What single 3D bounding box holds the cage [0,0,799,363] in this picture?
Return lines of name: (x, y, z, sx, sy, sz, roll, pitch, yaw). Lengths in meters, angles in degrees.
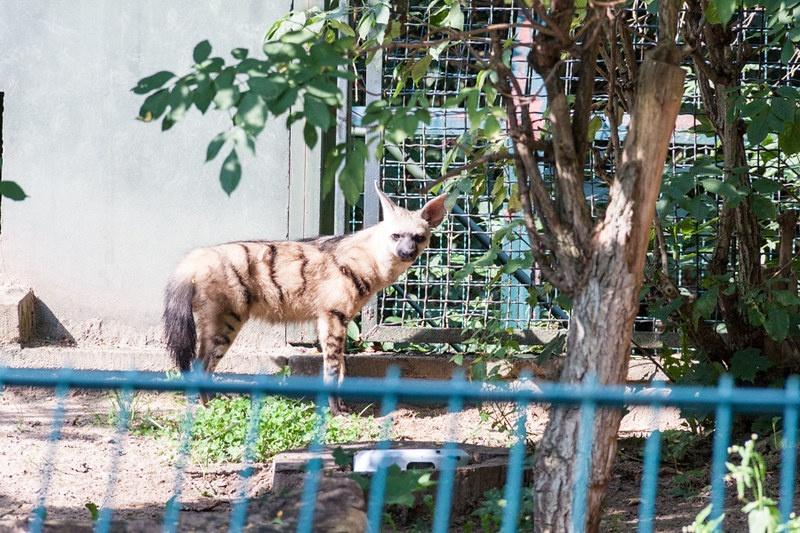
cage: (-0.026, -0.661, 8.988, 3.007, 1.988, 1.561, 2, 2, 34)
